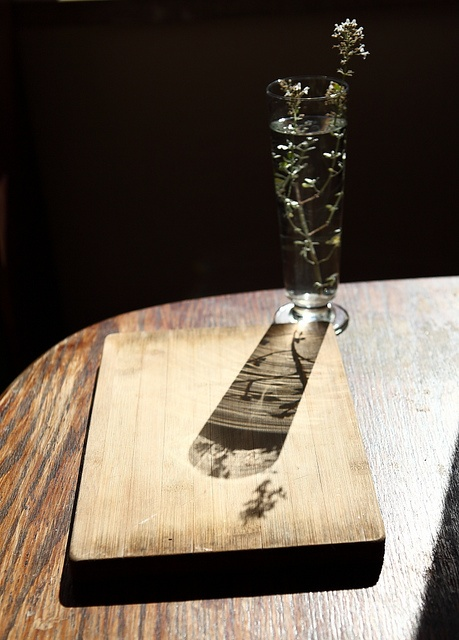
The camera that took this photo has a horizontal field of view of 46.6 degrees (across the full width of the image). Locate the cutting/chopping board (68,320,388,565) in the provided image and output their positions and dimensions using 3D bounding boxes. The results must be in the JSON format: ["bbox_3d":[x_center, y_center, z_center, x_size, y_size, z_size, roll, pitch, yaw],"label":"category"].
[{"bbox_3d":[-0.003,0.113,0.446,0.140,0.011,0.230,-1,26,1],"label":"cutting/chopping board"}]

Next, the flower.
[{"bbox_3d":[0.103,-0.171,0.637,0.105,0.324,0.125,-2,21,5],"label":"flower"}]
